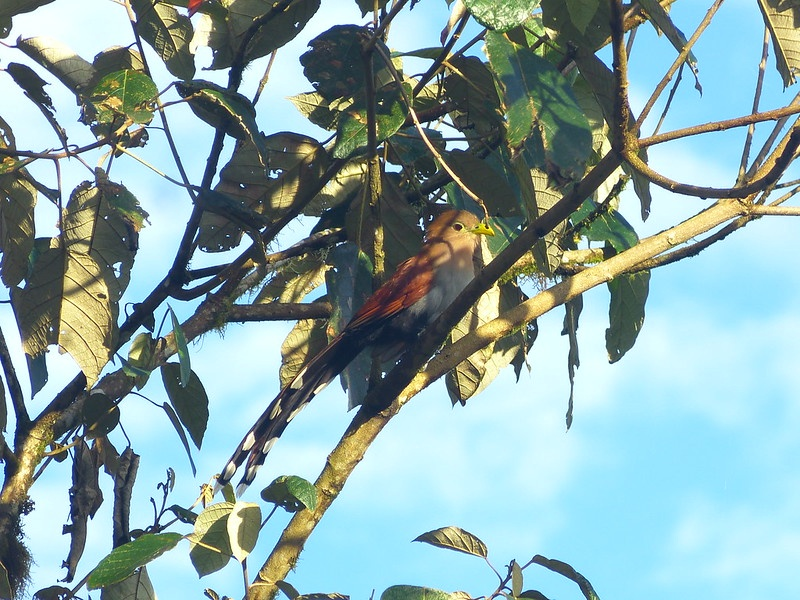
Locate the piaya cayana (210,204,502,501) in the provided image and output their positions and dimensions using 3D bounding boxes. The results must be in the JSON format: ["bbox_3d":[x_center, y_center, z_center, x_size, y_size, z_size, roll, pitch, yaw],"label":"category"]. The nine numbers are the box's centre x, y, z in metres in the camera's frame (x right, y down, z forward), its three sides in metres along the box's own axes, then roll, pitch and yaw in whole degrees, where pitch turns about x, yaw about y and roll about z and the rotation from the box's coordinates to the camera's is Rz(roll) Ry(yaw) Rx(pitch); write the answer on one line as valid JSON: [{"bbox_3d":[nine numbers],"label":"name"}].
[{"bbox_3d":[-0.178,0.173,8.120,1.600,1.054,0.415,-18,-20,9],"label":"piaya cayana"}]
